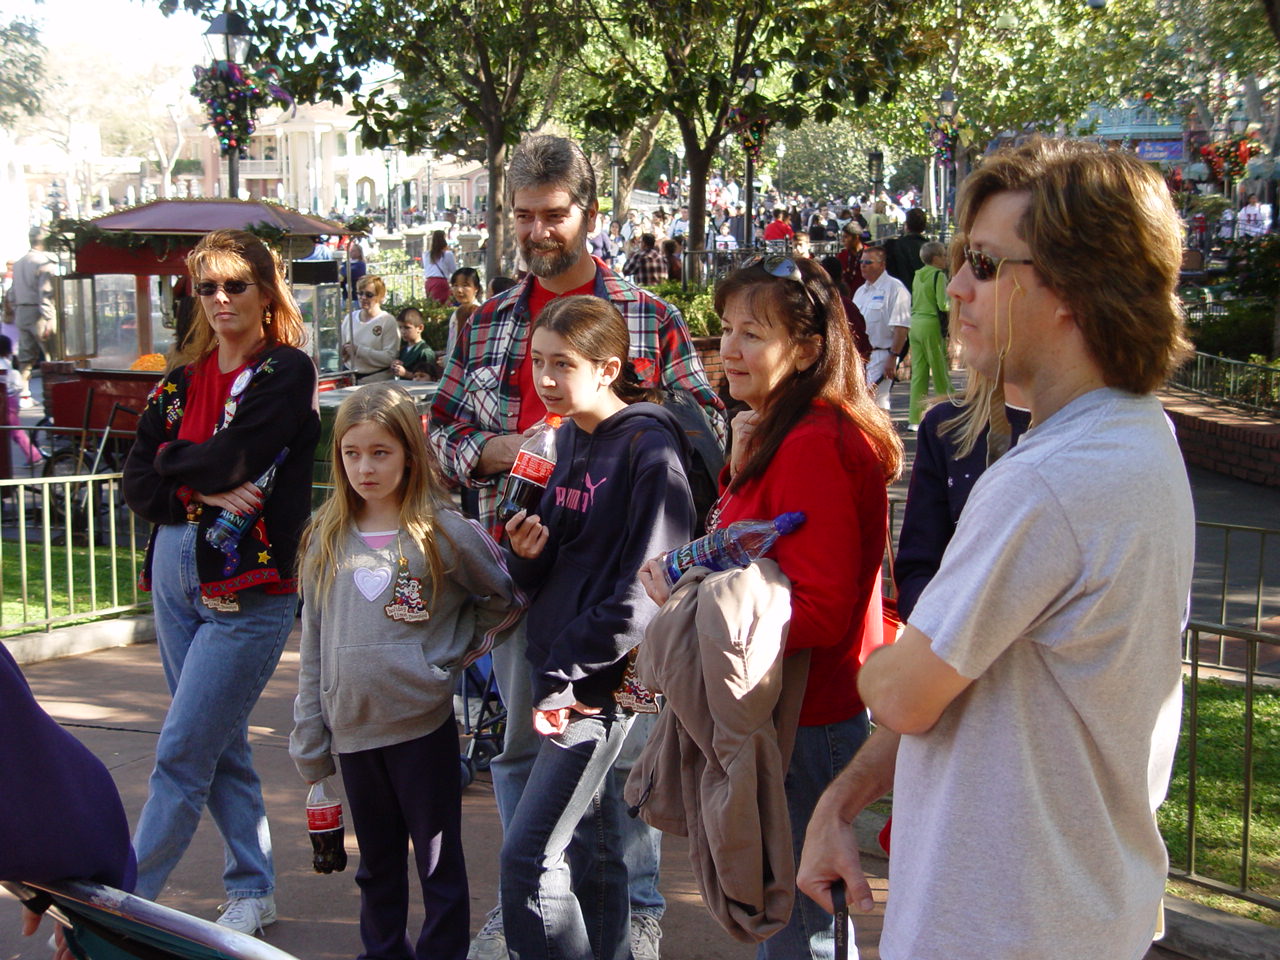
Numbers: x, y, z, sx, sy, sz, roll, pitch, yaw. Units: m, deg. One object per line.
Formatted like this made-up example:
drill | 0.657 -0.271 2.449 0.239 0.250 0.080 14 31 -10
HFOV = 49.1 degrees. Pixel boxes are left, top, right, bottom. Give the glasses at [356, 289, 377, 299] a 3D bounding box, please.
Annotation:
glasses | -2.705 -1.844 13.906 0.134 0.076 0.220 -2 3 -12

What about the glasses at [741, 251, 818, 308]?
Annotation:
glasses | 0.401 -0.572 3.836 0.138 0.153 0.044 24 57 37

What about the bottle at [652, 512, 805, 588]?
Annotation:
bottle | 0.221 0.183 3.636 0.128 0.204 0.446 -4 4 -42

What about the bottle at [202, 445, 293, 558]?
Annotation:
bottle | -1.332 0.074 4.782 0.287 0.347 0.128 -3 3 -17
